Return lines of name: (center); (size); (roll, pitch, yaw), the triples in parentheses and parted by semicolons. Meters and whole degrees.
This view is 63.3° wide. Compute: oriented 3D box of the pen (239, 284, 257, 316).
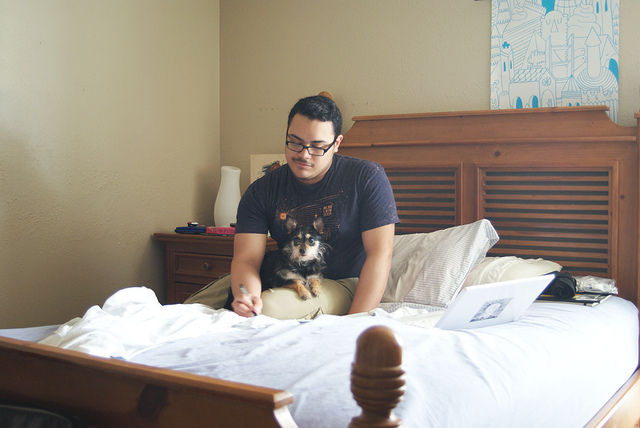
pen: (-0.294, 0.349, 2.095); (0.017, 0.118, 0.031); (-34, -20, -1)

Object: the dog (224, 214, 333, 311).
dog: (-0.152, 0.224, 2.469); (0.232, 0.387, 0.597); (-7, -2, -31)

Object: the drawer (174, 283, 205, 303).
drawer: (-0.840, 0.499, 3.319); (0.243, 0.159, 0.032); (7, 14, 30)

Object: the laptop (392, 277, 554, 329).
laptop: (0.589, 0.269, 1.891); (0.269, 0.124, 0.371); (2, -2, -28)

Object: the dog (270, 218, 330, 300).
dog: (-0.108, 0.207, 2.446); (0.308, 0.376, 0.539); (-1, 0, -21)
